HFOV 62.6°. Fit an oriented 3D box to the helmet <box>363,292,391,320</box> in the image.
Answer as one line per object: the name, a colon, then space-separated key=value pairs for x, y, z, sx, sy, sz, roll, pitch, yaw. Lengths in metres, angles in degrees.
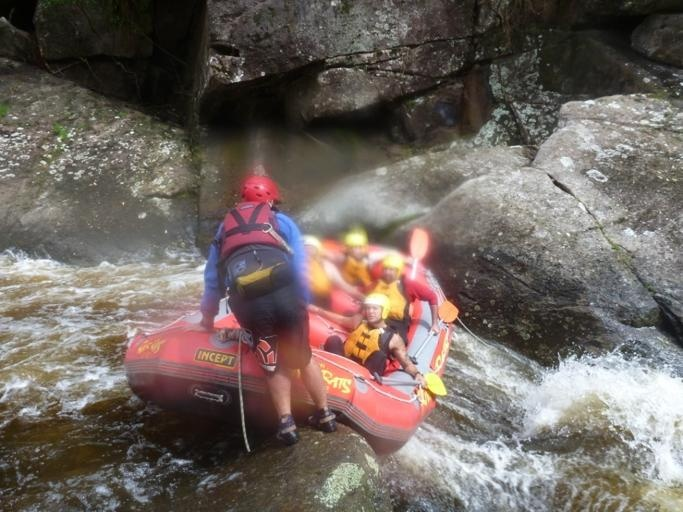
helmet: x=0.369 y=0.515 z=5.873 sx=0.211 sy=0.221 sz=0.282 roll=8 pitch=8 yaw=28

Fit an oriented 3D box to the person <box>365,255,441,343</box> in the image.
person: x=0.722 y=0.466 z=6.345 sx=0.706 sy=0.986 sz=0.338 roll=-17 pitch=-13 yaw=19

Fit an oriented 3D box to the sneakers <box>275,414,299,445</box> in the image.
sneakers: x=-0.458 y=1.514 z=4.831 sx=0.128 sy=0.143 sz=0.299 roll=-5 pitch=28 yaw=-14

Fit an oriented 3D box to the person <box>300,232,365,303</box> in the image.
person: x=-0.116 y=0.089 z=6.510 sx=0.548 sy=0.805 sz=0.302 roll=-14 pitch=18 yaw=35

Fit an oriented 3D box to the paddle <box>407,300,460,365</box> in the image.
paddle: x=1.048 y=0.819 z=6.224 sx=1.039 sy=0.290 sz=0.076 roll=-57 pitch=3 yaw=-20

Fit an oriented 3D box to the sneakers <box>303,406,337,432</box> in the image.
sneakers: x=-0.155 y=1.473 z=4.972 sx=0.150 sy=0.126 sz=0.281 roll=-14 pitch=8 yaw=-13

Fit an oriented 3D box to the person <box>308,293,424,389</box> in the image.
person: x=0.269 y=0.914 z=5.803 sx=0.792 sy=0.259 sz=0.840 roll=29 pitch=44 yaw=29
